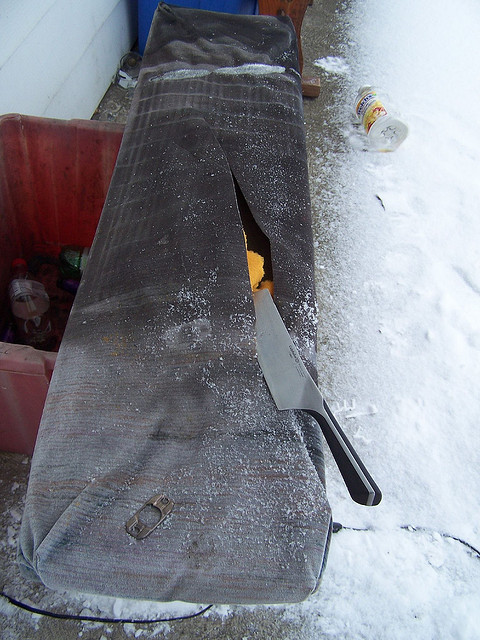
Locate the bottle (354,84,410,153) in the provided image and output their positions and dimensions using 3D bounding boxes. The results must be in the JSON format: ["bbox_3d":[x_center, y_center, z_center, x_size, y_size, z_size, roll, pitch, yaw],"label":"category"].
[{"bbox_3d":[0.452,-0.636,1.694,0.117,0.123,0.273,-3,44,-13],"label":"bottle"}]

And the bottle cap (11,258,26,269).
[{"bbox_3d":[-0.537,-0.139,1.292,0.023,0.019,0.024,-1,14,-25],"label":"bottle cap"}]

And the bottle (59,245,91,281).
[{"bbox_3d":[-0.395,-0.135,1.257,0.065,0.076,0.075,15,33,-7],"label":"bottle"}]
